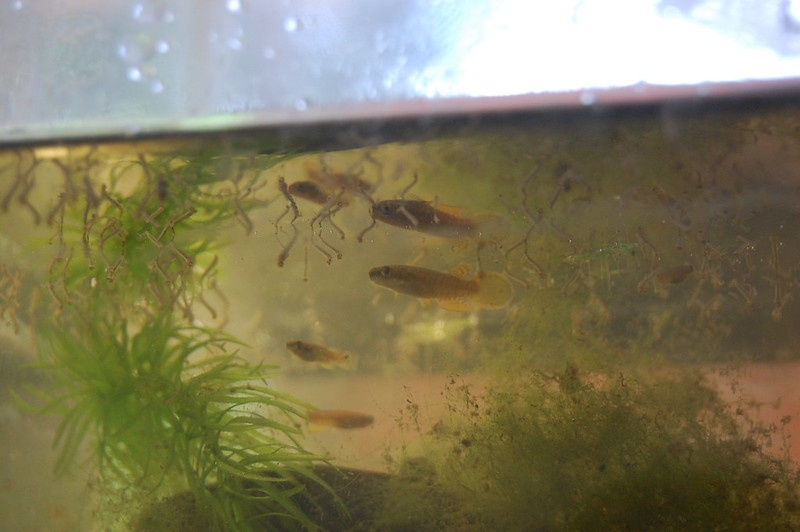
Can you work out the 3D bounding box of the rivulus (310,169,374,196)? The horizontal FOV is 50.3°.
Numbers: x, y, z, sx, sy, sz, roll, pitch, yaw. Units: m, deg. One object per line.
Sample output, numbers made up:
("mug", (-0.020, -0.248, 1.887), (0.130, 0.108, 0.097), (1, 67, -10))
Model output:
("rivulus", (-0.413, -0.584, 5.869), (0.458, 0.113, 0.113), (10, 61, 11))
